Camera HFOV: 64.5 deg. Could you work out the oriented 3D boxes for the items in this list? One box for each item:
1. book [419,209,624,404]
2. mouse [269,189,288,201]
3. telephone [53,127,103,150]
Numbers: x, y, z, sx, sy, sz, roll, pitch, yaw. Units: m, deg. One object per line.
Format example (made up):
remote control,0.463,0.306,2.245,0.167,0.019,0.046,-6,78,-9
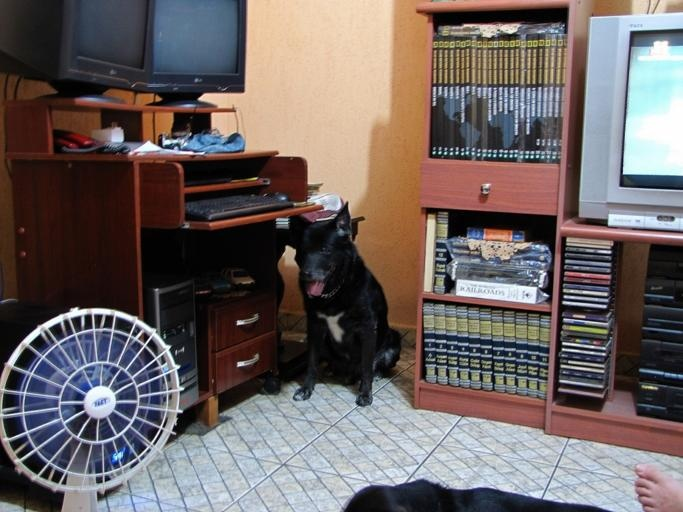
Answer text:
book,0.788,0.235,2.384,0.807,0.777,0.271,6,13,23
mouse,-0.293,-0.277,2.476,0.085,0.037,0.056,19,20,20
telephone,-1.006,-0.434,2.028,0.187,0.068,0.090,4,13,18
